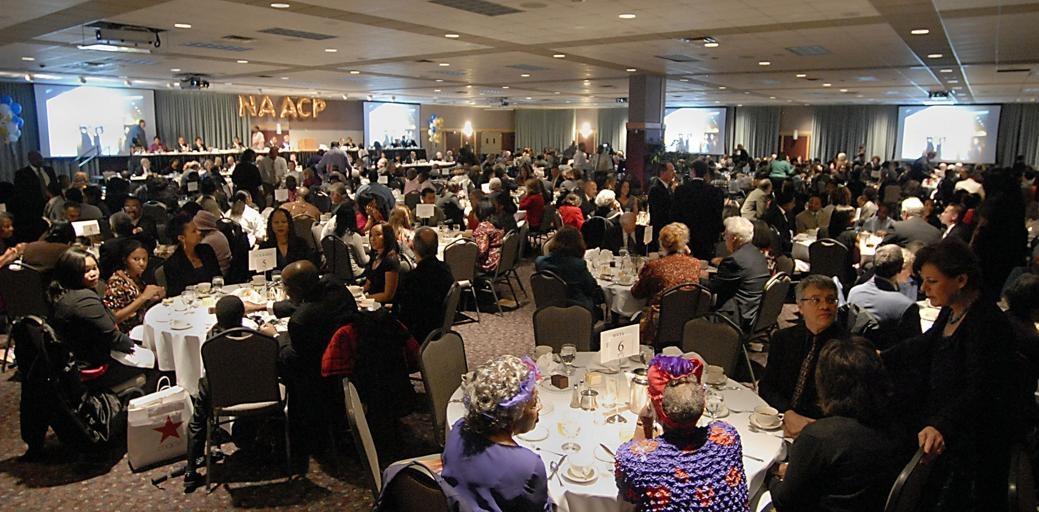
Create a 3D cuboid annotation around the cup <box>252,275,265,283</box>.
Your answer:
[{"bbox_3d":[-4.051,0.354,9.772,0.164,0.089,0.151,-1,-2,0],"label":"cup"}]

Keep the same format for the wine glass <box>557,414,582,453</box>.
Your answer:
[{"bbox_3d":[0.575,2.066,7.286,0.307,0.390,0.296,-2,8,-8],"label":"wine glass"}]

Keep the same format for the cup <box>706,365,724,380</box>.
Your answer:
[{"bbox_3d":[2.413,1.447,7.784,0.191,0.074,0.195,-3,9,1],"label":"cup"}]

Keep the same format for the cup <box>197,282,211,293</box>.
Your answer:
[{"bbox_3d":[-4.744,0.467,9.397,0.169,0.086,0.154,1,0,0],"label":"cup"}]

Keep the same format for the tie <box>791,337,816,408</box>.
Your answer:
[{"bbox_3d":[3.438,1.444,7.618,0.274,0.748,0.112,-6,10,-27],"label":"tie"}]

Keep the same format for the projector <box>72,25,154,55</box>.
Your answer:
[{"bbox_3d":[-7.554,-4.107,11.948,1.199,0.383,0.726,-2,8,-10],"label":"projector"}]

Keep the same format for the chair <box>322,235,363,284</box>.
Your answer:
[{"bbox_3d":[-3.096,0.035,10.952,0.508,0.810,0.534,19,43,13],"label":"chair"}]

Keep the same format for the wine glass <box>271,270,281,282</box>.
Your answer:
[{"bbox_3d":[-3.792,0.298,9.769,0.196,0.180,0.179,-3,8,-12],"label":"wine glass"}]

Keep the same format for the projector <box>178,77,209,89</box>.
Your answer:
[{"bbox_3d":[-9.699,-5.135,18.584,0.802,0.270,0.601,3,6,28],"label":"projector"}]

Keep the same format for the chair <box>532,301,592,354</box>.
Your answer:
[{"bbox_3d":[0.628,0.996,9.023,0.680,0.963,0.745,1,8,5],"label":"chair"}]

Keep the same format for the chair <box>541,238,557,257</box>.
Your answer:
[{"bbox_3d":[0.477,-0.143,10.374,0.289,0.294,0.256,-2,5,-28],"label":"chair"}]

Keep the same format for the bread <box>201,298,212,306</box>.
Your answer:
[{"bbox_3d":[-4.586,0.660,9.218,0.123,0.071,0.113,-1,4,-37],"label":"bread"}]

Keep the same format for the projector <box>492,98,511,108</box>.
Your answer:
[{"bbox_3d":[-0.802,-6.517,26.574,0.710,0.147,0.665,-4,8,-28],"label":"projector"}]

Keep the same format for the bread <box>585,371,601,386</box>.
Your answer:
[{"bbox_3d":[0.899,1.506,7.785,0.172,0.089,0.158,-3,9,-11],"label":"bread"}]

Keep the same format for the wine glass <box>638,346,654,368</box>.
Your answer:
[{"bbox_3d":[1.634,1.302,8.134,0.221,0.229,0.216,1,3,-3],"label":"wine glass"}]

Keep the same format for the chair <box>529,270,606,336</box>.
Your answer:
[{"bbox_3d":[0.707,0.677,9.289,0.716,1.159,0.792,18,30,38],"label":"chair"}]

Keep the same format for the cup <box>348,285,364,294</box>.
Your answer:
[{"bbox_3d":[-2.489,0.503,9.504,0.204,0.157,0.146,-15,9,-7],"label":"cup"}]

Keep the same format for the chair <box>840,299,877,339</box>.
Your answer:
[{"bbox_3d":[4.428,0.820,8.272,0.456,0.528,0.247,-25,-24,15],"label":"chair"}]
